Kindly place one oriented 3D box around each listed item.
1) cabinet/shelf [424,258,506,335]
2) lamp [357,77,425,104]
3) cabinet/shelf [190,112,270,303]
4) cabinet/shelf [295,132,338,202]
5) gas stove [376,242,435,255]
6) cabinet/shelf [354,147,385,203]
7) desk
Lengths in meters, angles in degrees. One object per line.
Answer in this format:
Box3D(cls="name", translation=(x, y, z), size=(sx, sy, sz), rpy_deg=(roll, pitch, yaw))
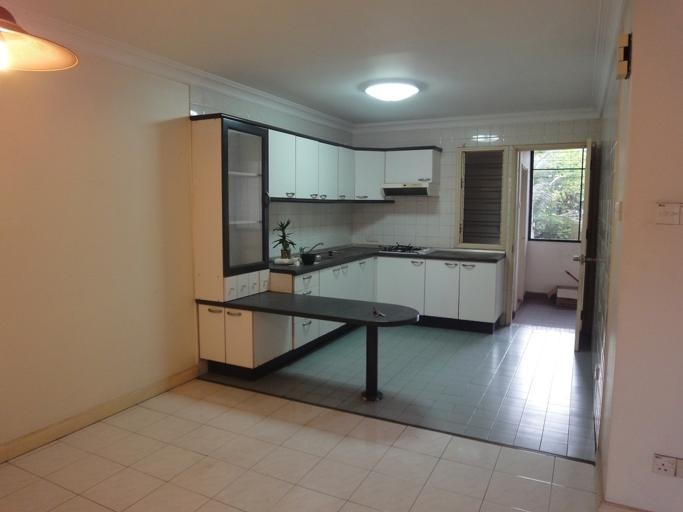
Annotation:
Box3D(cls="cabinet/shelf", translation=(1.599, 0.446, 6.344), size=(1.260, 1.181, 0.802), rpy_deg=(1, 2, 24))
Box3D(cls="lamp", translation=(0.498, -1.677, 4.837), size=(0.642, 0.143, 0.426), rpy_deg=(2, 12, 8))
Box3D(cls="cabinet/shelf", translation=(-1.053, -0.453, 4.510), size=(0.728, 1.665, 0.449), rpy_deg=(-3, 12, -12))
Box3D(cls="cabinet/shelf", translation=(-0.198, -1.026, 5.754), size=(0.262, 0.686, 0.790), rpy_deg=(-8, 16, -43))
Box3D(cls="gas stove", translation=(0.904, -0.114, 6.526), size=(0.666, 0.074, 0.712), rpy_deg=(3, 12, 15))
Box3D(cls="cabinet/shelf", translation=(0.391, -1.108, 6.535), size=(0.392, 0.628, 0.113), rpy_deg=(-4, 13, -16))
Box3D(cls="desk", translation=(-0.119, 0.799, 4.342), size=(1.611, 0.800, 0.619), rpy_deg=(5, 13, 24))
